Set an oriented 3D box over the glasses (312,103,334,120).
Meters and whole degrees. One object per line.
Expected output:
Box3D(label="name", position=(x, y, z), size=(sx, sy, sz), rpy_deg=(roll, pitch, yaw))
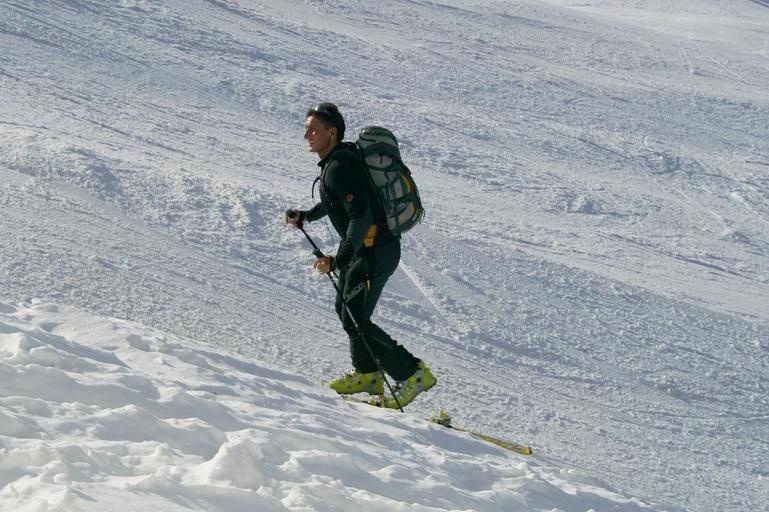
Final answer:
Box3D(label="glasses", position=(-1.059, -2.535, 22.668), size=(0.376, 0.135, 0.244), rpy_deg=(-1, -2, 23))
